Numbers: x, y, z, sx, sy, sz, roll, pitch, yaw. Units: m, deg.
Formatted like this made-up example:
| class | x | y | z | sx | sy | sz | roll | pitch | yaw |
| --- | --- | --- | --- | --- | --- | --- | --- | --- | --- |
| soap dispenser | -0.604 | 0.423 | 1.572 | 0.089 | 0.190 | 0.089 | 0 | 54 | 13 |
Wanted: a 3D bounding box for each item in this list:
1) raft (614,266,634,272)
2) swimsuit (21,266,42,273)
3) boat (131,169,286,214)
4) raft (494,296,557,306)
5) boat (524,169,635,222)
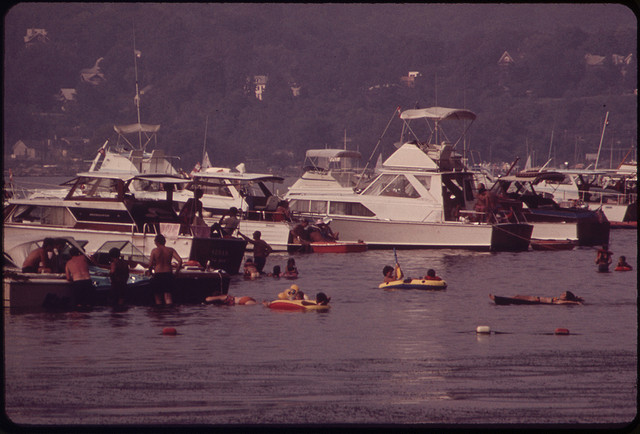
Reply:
| class | x | y | z | sx | sy | sz | roll | pitch | yaw |
| --- | --- | --- | --- | --- | --- | --- | --- | --- | --- |
| raft | 23.277 | 3.953 | 121.683 | 1.320 | 0.407 | 0.459 | 0 | -5 | 4 |
| swimsuit | -20.581 | 3.704 | 112.778 | 1.224 | 0.469 | 0.237 | 1 | -5 | -10 |
| boat | -9.781 | -1.602 | 124.506 | 14.528 | 3.635 | 4.321 | 5 | 3 | 13 |
| raft | 14.340 | 6.111 | 115.330 | 3.346 | 0.696 | 0.289 | -1 | -5 | 13 |
| boat | 21.530 | -1.772 | 132.568 | 7.621 | 2.593 | 3.225 | -8 | 14 | 2 |
